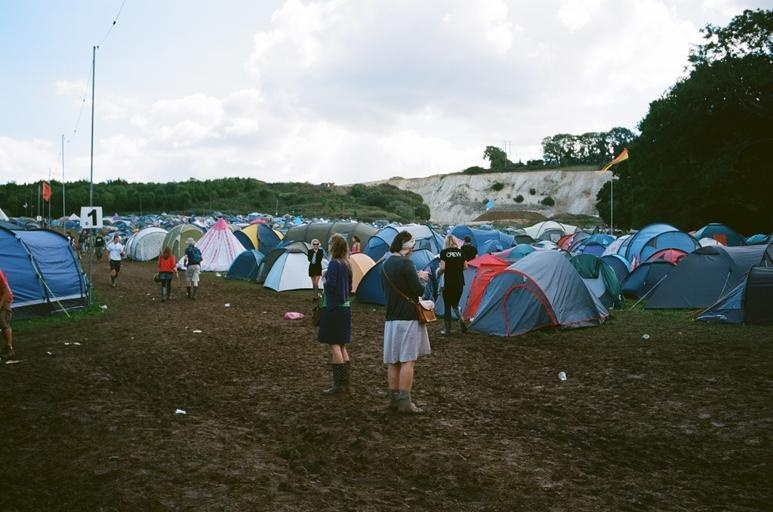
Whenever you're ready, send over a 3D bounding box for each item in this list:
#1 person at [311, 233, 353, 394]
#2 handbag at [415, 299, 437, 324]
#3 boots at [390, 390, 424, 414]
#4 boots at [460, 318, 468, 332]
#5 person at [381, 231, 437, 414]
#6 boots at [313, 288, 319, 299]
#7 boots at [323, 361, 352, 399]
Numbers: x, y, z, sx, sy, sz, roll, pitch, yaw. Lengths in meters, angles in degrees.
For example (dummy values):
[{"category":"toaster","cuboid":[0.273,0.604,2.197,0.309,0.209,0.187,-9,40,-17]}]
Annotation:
[{"category":"person","cuboid":[-0.966,1.087,11.693,0.601,2.979,0.462,0,5,-7]},{"category":"handbag","cuboid":[0.728,0.973,10.906,0.251,0.430,0.360,4,6,38]},{"category":"boots","cuboid":[0.305,2.585,11.066,0.724,0.481,0.272,-1,-2,-4]},{"category":"boots","cuboid":[1.935,1.728,15.723,0.164,0.327,0.319,-9,12,-8]},{"category":"person","cuboid":[0.355,1.158,11.001,0.827,3.168,0.509,0,5,0]},{"category":"boots","cuboid":[-2.345,1.176,20.710,0.185,0.226,0.538,9,31,-3]},{"category":"boots","cuboid":[-0.873,2.329,11.827,0.605,0.589,0.483,3,1,7]}]
